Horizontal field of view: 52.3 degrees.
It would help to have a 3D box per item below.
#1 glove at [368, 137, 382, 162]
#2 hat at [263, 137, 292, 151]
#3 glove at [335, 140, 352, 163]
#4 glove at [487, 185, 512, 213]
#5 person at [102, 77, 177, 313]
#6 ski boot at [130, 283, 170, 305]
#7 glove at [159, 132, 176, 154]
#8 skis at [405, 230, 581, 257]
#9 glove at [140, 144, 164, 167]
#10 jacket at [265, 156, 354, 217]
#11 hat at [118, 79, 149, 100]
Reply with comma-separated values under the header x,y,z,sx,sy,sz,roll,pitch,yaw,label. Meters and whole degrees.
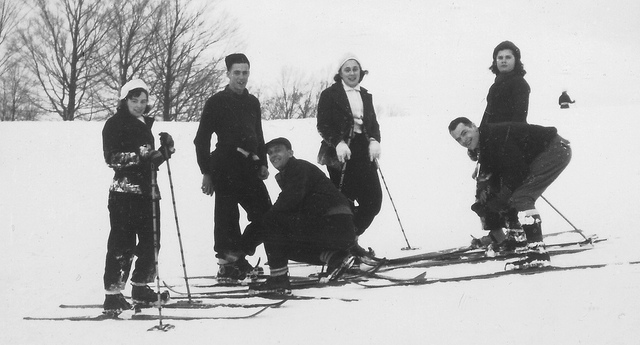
x,y,z,sx,sy,sz,roll,pitch,yaw,label
1.046,-0.451,12.139,0.277,0.364,0.129,-3,-3,8,glove
-0.747,-0.516,11.679,0.469,0.239,0.323,-1,2,-26,hat
0.431,-0.389,11.859,0.333,0.417,0.114,0,-1,-1,glove
3.327,0.525,12.055,0.382,0.387,0.465,27,-35,-9,glove
-3.138,0.394,11.016,1.011,3.922,0.373,-1,2,-15,person
-2.896,2.103,11.189,0.673,0.432,0.218,0,-22,-15,ski boot
-2.571,-0.510,11.019,0.119,0.322,0.251,-23,-18,-40,glove
3.412,1.380,12.464,2.402,0.092,0.248,-8,-13,-8,skis
-2.839,-0.305,11.057,0.393,0.154,0.295,20,-24,12,glove
-0.373,0.413,11.952,1.813,1.401,1.239,0,1,-9,jacket
-3.164,-1.431,11.156,0.453,0.363,0.235,-1,2,-10,hat
